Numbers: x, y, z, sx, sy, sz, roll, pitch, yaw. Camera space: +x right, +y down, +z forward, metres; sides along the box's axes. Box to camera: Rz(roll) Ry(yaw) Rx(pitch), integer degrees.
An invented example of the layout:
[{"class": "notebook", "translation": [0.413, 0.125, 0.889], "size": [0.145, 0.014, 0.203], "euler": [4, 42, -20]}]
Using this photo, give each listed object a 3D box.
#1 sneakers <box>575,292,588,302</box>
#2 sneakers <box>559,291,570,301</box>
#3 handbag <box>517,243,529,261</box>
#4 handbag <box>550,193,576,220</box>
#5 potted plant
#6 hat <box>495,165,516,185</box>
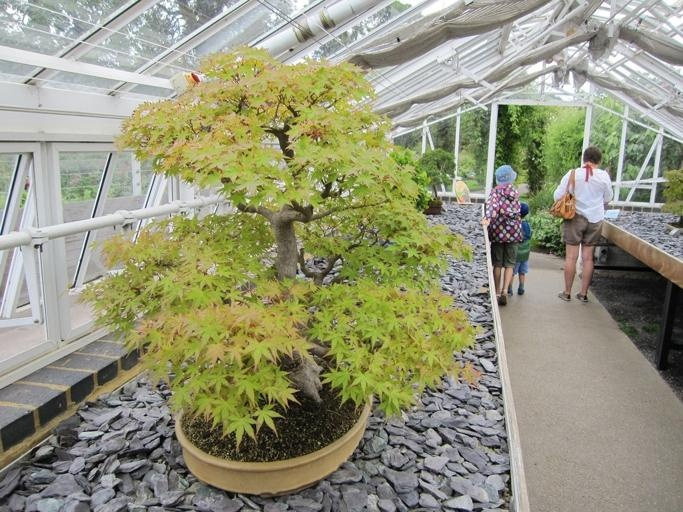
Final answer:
[{"class": "sneakers", "translation": [3.404, 0.577, 5.902], "size": [0.082, 0.076, 0.180], "euler": [6, 16, -8]}, {"class": "sneakers", "translation": [3.170, 0.570, 5.953], "size": [0.083, 0.075, 0.179], "euler": [-6, 18, -14]}, {"class": "handbag", "translation": [2.486, -0.064, 5.713], "size": [0.208, 0.265, 0.153], "euler": [-4, 17, 6]}, {"class": "handbag", "translation": [2.916, -0.662, 5.450], "size": [0.286, 0.310, 0.145], "euler": [4, 11, 24]}, {"class": "potted plant", "translation": [-0.266, 0.037, 2.216], "size": [1.856, 2.235, 1.176], "euler": [-3, 10, -19]}, {"class": "hat", "translation": [2.062, -1.018, 5.230], "size": [0.209, 0.251, 0.360], "euler": [3, 10, 17]}]
